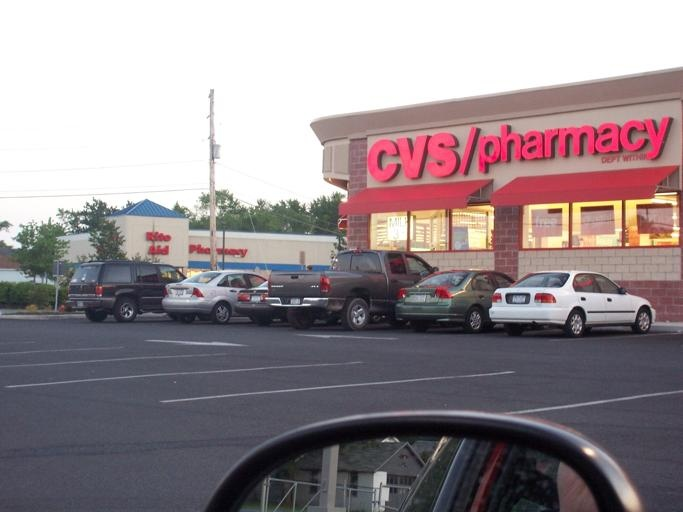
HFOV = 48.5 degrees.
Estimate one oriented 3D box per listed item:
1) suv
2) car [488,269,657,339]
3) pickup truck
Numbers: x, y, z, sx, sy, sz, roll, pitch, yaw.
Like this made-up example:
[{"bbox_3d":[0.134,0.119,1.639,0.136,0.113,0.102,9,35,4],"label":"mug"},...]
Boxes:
[{"bbox_3d":[-7.471,1.103,26.623,1.986,1.618,4.074,0,3,42],"label":"suv"},{"bbox_3d":[6.013,1.196,18.855,4.830,1.632,1.707,0,-2,-34],"label":"car"},{"bbox_3d":[0.786,0.939,21.595,2.151,1.661,4.596,-1,1,44],"label":"pickup truck"}]
